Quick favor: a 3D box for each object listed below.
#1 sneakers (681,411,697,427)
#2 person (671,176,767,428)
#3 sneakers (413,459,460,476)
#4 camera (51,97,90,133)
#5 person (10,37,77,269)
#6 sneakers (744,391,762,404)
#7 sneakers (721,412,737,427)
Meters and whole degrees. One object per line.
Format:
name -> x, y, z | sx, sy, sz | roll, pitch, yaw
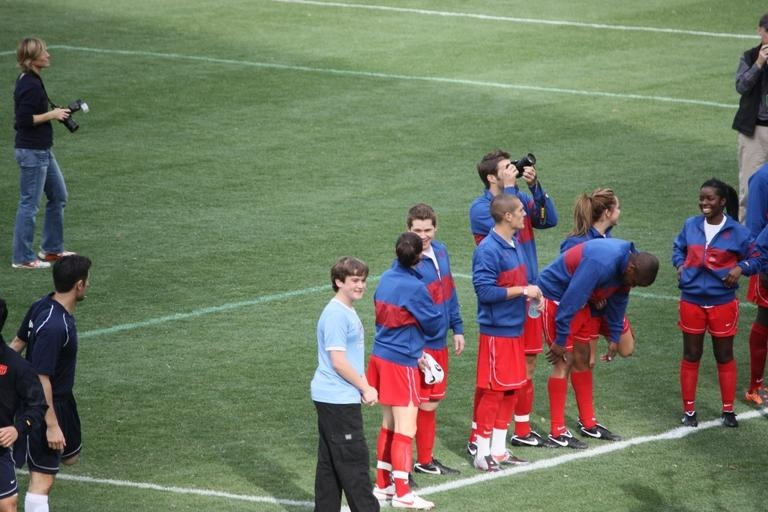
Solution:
sneakers -> 4.273, 2.271, 18.329 | 0.146, 0.101, 0.242 | 4, 14, 13
person -> 4.662, 0.628, 18.415 | 1.130, 3.291, 1.237 | 1, 16, 2
sneakers -> 0.655, 2.822, 17.620 | 0.707, 0.234, 0.219 | 1, -2, 2
camera -> -5.031, -2.277, 21.086 | 0.326, 0.155, 0.618 | -4, 55, 11
person -> -5.585, -1.636, 20.921 | 0.985, 3.641, 0.701 | -3, 17, -14
sneakers -> 5.306, 2.025, 18.771 | 0.265, 0.111, 0.111 | 6, 13, 41
sneakers -> 4.840, 2.269, 18.330 | 0.211, 0.175, 0.184 | 4, 16, 12
